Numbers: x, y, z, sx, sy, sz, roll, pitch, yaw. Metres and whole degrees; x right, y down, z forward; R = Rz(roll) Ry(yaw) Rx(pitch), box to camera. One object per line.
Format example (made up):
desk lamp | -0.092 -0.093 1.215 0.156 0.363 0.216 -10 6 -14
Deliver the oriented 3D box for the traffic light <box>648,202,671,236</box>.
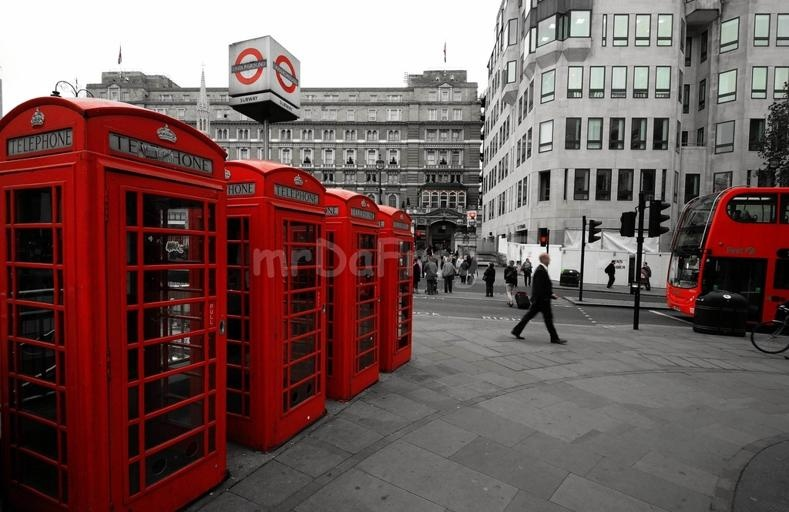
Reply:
traffic light | 7.120 -1.034 19.662 0.500 0.961 0.789 0 3 17

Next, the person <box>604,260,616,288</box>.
person | 9.889 0.831 33.616 0.363 1.319 1.149 0 4 19

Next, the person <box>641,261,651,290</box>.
person | 11.476 0.931 33.253 0.408 1.331 1.807 0 3 19

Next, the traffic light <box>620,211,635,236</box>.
traffic light | 6.642 -0.933 20.813 0.405 0.700 0.847 0 3 14

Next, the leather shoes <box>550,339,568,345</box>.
leather shoes | 4.083 2.123 18.094 0.404 0.177 0.152 -4 1 0

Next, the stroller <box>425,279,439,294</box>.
stroller | 1.372 1.124 27.911 0.512 0.894 0.521 -3 10 -3
